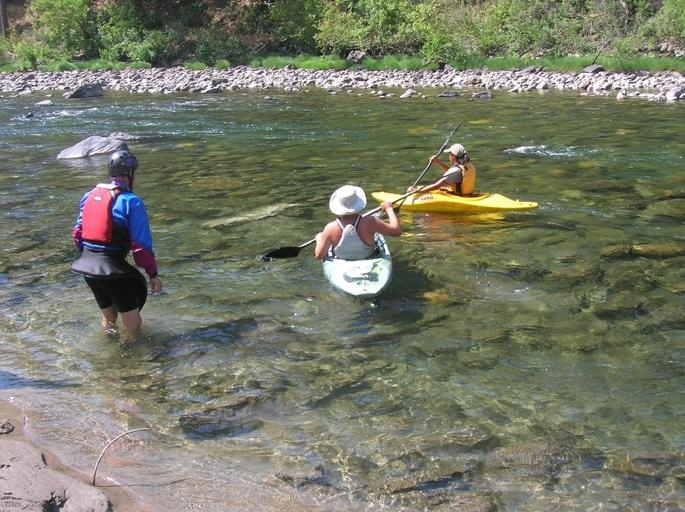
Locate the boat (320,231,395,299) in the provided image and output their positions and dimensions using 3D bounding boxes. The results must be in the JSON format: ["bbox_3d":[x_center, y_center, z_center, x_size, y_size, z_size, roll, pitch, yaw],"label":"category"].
[{"bbox_3d":[0.178,0.205,8.404,0.807,0.479,0.875,-4,13,2],"label":"boat"}]

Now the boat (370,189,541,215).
[{"bbox_3d":[1.701,-0.795,11.015,2.653,0.224,0.658,0,8,14],"label":"boat"}]

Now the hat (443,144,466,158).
[{"bbox_3d":[1.745,-1.611,10.821,0.223,0.214,0.272,-3,14,11],"label":"hat"}]

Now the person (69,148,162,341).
[{"bbox_3d":[-2.292,-0.060,6.980,0.850,1.939,0.545,-11,19,-8],"label":"person"}]

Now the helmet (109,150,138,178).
[{"bbox_3d":[-2.189,-0.905,6.918,0.282,0.256,0.291,-10,15,-14],"label":"helmet"}]

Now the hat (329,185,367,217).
[{"bbox_3d":[0.044,-0.630,8.053,0.420,0.355,0.263,-2,17,15],"label":"hat"}]
